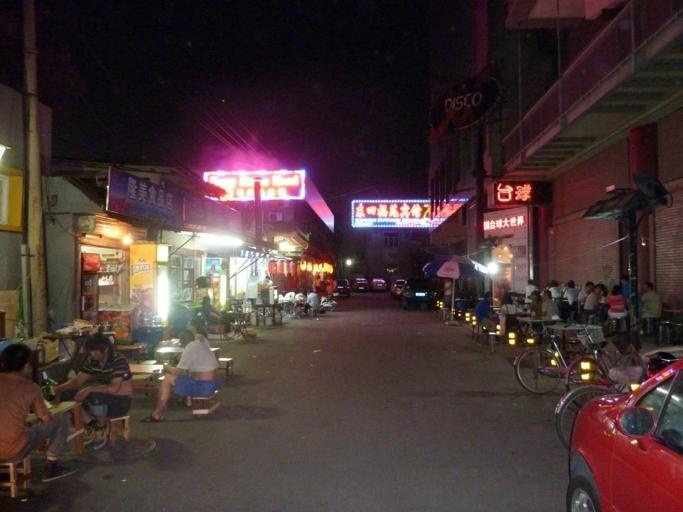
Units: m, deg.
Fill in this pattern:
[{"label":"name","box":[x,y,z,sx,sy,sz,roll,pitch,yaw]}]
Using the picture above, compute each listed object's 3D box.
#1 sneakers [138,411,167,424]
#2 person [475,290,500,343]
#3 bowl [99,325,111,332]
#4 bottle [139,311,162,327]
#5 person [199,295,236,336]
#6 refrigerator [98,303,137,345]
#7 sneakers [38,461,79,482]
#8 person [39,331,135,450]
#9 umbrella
[{"label":"sneakers","box":[-3.368,2.906,11.522,0.322,0.117,0.188,4,-8,-5]},{"label":"person","box":[4.418,1.805,19.688,0.706,1.484,0.558,-4,11,-16]},{"label":"bowl","box":[-5.481,1.683,14.986,0.159,0.127,0.169,1,-3,0]},{"label":"bottle","box":[-5.107,1.682,17.331,0.445,0.485,0.349,-3,1,3]},{"label":"person","box":[-4.120,2.017,21.046,1.011,1.359,0.898,1,-17,-5]},{"label":"refrigerator","box":[-5.707,1.705,16.237,0.845,0.889,0.894,0,-6,-2]},{"label":"sneakers","box":[-4.176,3.191,9.671,0.619,0.307,0.211,-1,0,-42]},{"label":"person","box":[-4.111,2.223,10.781,0.914,1.851,1.246,-1,-2,23]},{"label":"umbrella","box":[4.410,1.362,23.963,2.460,2.767,2.580,0,6,-10]}]
